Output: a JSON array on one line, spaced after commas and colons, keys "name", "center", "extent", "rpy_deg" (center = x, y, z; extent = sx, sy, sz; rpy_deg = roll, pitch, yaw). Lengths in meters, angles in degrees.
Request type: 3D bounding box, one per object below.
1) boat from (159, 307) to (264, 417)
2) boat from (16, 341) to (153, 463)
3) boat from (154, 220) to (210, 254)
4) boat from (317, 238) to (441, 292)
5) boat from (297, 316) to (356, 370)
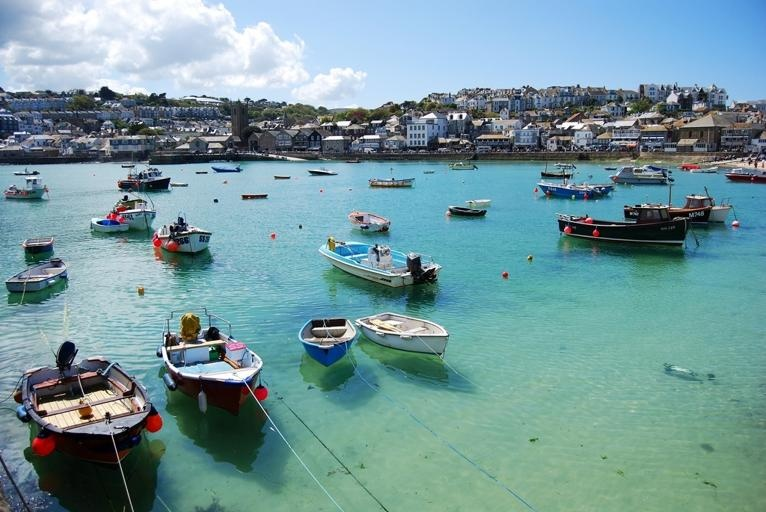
[{"name": "boat", "center": [-6.443, 3.946, 23.600], "extent": [4.111, 3.044, 2.569], "rpy_deg": [5, 14, 41]}, {"name": "boat", "center": [-10.590, 5.544, 22.182], "extent": [2.913, 2.031, 5.800], "rpy_deg": [-10, 28, -41]}, {"name": "boat", "center": [-13.451, -1.412, 41.993], "extent": [2.643, 2.192, 4.761], "rpy_deg": [-15, 15, -43]}, {"name": "boat", "center": [0.746, -0.060, 36.089], "extent": [6.362, 2.254, 7.288], "rpy_deg": [-12, 13, -35]}, {"name": "boat", "center": [-2.235, 3.492, 25.921], "extent": [2.085, 1.476, 2.024], "rpy_deg": [-6, 11, -6]}]
